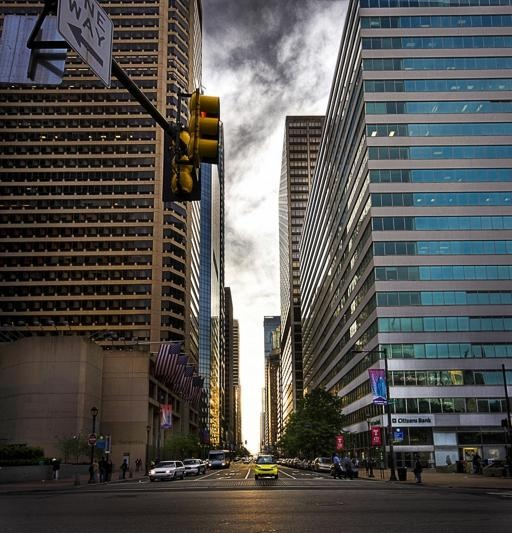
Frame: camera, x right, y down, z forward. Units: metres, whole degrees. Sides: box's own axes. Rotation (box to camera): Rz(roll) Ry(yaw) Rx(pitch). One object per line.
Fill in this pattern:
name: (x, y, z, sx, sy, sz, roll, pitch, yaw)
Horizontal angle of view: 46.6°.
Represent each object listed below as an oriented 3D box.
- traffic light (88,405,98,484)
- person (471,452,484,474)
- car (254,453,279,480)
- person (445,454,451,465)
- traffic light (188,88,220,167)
traffic light: (-11.405, 11.871, 41.597, 0.708, 4.016, 0.652, 2, -15, -13)
person: (17.500, 15.636, 46.971, 0.589, 1.504, 2.052, -5, -19, 16)
car: (0.711, 14.030, 41.713, 1.167, 1.145, 2.259, -1, -23, 1)
person: (19.124, 19.187, 59.008, 0.518, 0.910, 1.186, -5, -19, 16)
traffic light: (-0.599, -1.701, 6.874, 0.361, 1.166, 0.640, 2, -18, -6)
